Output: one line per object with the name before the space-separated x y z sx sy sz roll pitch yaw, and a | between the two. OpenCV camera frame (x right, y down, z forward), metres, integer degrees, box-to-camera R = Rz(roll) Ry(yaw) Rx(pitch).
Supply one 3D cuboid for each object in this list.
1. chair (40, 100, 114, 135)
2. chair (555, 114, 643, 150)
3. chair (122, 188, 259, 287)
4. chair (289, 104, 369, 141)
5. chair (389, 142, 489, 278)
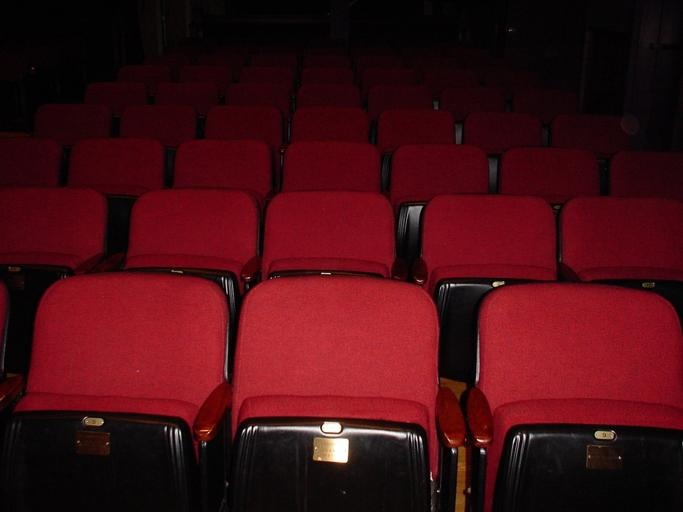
chair | -2.323 -1.170 4.842 0.680 0.283 0.167 2 11 9
chair | 2.102 -1.019 4.676 0.662 0.318 0.219 2 11 10
chair | -0.782 -0.157 3.005 0.566 0.722 0.560 1 0 -4
chair | -0.100 -1.073 4.540 0.524 0.413 0.285 0 7 0
chair | 0.613 -0.364 3.600 0.622 0.947 0.771 0 1 4
